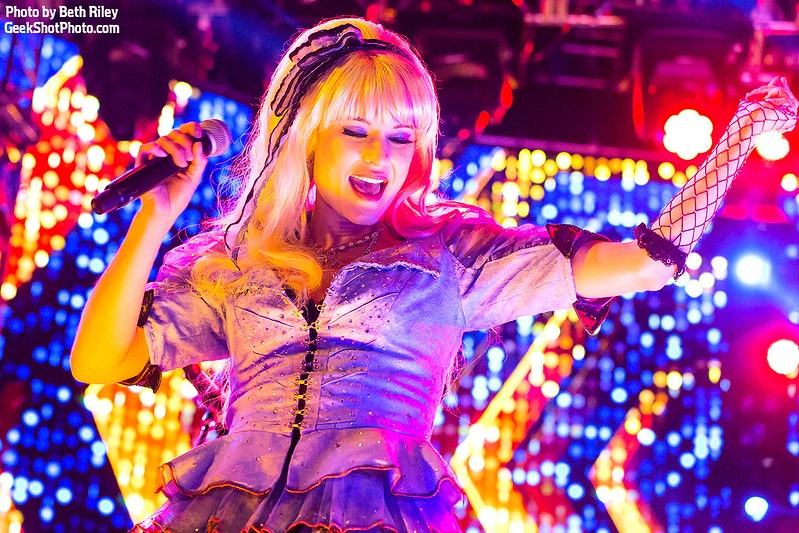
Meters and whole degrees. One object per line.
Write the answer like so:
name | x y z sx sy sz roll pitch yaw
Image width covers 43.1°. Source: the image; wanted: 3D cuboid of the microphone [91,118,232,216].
microphone | -0.832 -0.347 3.405 0.577 0.159 0.164 -37 -82 -5
